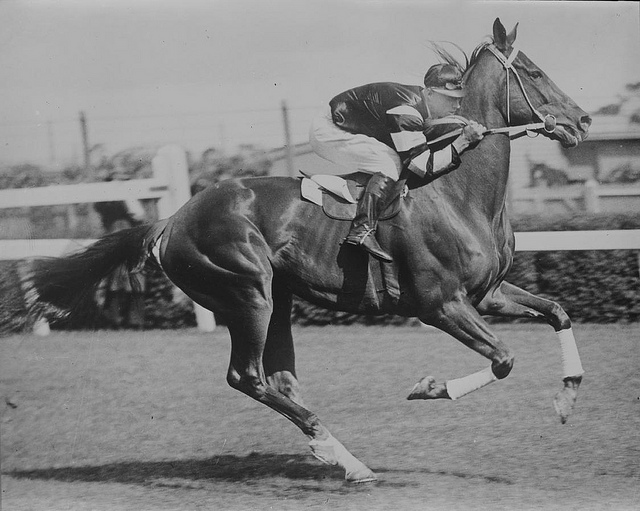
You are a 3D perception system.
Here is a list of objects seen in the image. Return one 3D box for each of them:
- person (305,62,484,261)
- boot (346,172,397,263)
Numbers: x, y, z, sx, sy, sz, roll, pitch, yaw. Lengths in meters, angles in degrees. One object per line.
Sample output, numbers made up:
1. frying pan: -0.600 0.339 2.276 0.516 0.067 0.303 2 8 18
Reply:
1. person: 0.280 -0.372 4.796 0.539 0.710 0.430 -5 10 -23
2. boot: 0.189 -0.138 4.639 0.171 0.328 0.128 0 9 9
